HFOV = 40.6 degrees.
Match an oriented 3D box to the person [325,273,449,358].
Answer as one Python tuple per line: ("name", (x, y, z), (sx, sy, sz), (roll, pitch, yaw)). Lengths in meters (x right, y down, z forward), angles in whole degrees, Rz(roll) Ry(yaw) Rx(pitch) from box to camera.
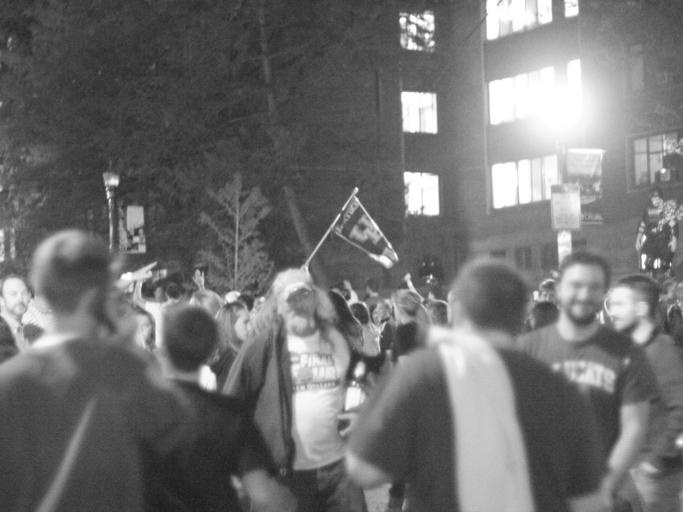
("person", (0.646, 0.814, 9.495), (0.834, 0.890, 0.366), (15, 17, 3))

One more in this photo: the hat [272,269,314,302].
("hat", (-0.492, 0.304, 8.795), (0.471, 0.123, 0.500), (-26, 17, -40))

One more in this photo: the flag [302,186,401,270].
("flag", (0.284, -0.507, 16.102), (1.062, 1.344, 1.101), (-1, 1, 29))
